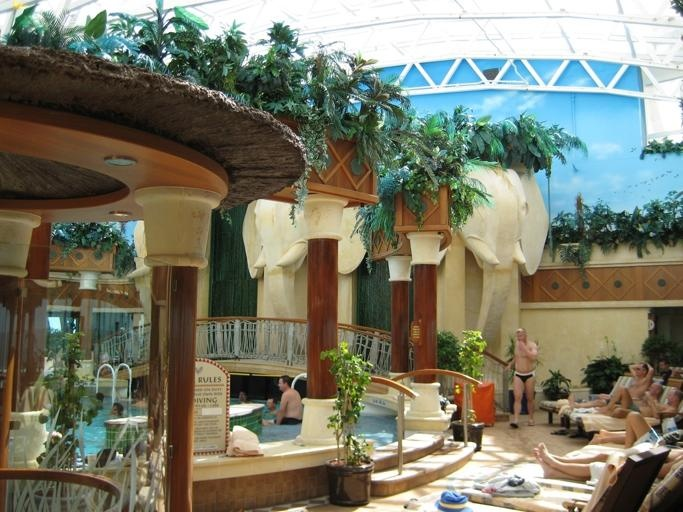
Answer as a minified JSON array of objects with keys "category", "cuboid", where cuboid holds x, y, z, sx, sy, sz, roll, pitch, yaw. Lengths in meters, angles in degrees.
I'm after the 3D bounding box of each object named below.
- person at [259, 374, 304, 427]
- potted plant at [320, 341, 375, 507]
[{"category":"person","cuboid":[-1.068,2.585,10.860,0.636,0.810,1.549,-1,-9,-6]},{"category":"potted plant","cuboid":[0.083,1.895,6.883,0.554,1.780,0.873,-2,-8,2]}]
